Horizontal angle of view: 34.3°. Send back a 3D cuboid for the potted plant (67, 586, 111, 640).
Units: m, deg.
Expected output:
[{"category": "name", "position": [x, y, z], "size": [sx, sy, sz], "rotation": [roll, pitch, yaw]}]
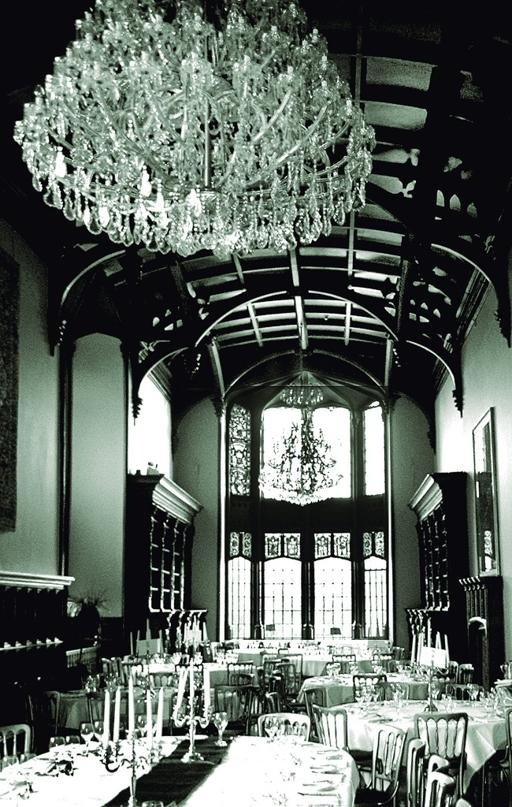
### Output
[{"category": "potted plant", "position": [-2.205, 2.755, 10.878], "size": [0.485, 1.174, 0.560], "rotation": [0, -4, 7]}]
